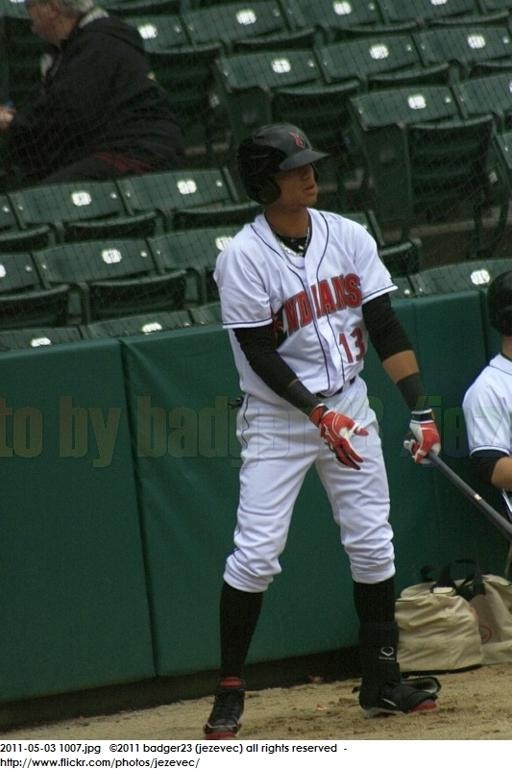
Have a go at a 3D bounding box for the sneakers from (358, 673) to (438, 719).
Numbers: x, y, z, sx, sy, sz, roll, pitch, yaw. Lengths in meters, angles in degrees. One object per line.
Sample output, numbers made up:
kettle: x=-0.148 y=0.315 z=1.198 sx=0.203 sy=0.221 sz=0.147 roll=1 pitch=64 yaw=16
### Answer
sneakers: x=0.381 y=0.824 z=2.120 sx=0.170 sy=0.070 sz=0.131 roll=-11 pitch=-12 yaw=22

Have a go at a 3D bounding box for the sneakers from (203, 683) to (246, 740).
sneakers: x=-0.069 y=0.786 z=1.924 sx=0.064 sy=0.075 sz=0.171 roll=11 pitch=31 yaw=0

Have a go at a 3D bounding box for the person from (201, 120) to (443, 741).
person: x=0.114 y=0.120 z=2.008 sx=0.638 sy=1.547 sz=0.404 roll=-10 pitch=0 yaw=17

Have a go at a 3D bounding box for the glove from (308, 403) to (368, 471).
glove: x=0.189 y=0.118 z=1.798 sx=0.095 sy=0.152 sz=0.107 roll=-10 pitch=0 yaw=-11

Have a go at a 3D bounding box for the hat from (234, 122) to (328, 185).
hat: x=0.052 y=-0.559 z=1.998 sx=0.208 sy=0.100 sz=0.142 roll=-18 pitch=12 yaw=22

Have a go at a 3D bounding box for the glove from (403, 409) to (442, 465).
glove: x=0.422 y=0.129 z=2.030 sx=0.065 sy=0.127 sz=0.101 roll=-10 pitch=-33 yaw=6
